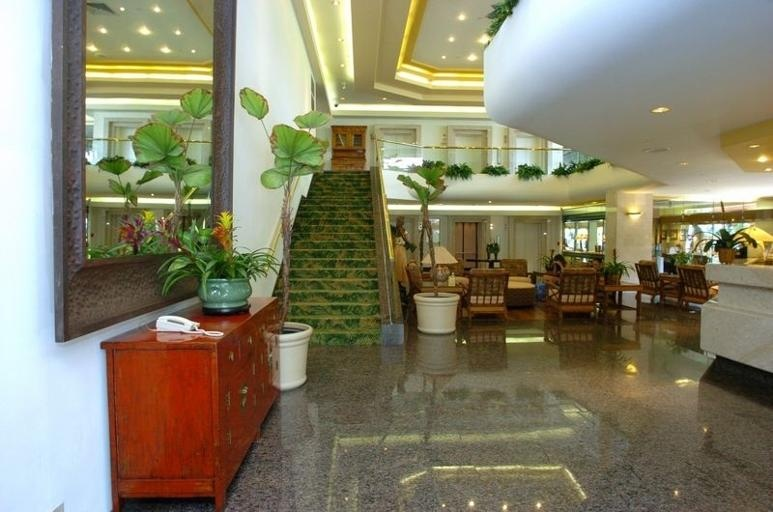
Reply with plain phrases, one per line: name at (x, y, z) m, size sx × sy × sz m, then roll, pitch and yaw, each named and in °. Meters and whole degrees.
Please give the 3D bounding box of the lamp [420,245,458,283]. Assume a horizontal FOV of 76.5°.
lamp at (1.076, 0.131, 9.433) m, size 0.757 × 0.668 × 0.764 m, roll 3°, pitch 9°, yaw 37°

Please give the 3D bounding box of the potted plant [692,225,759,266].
potted plant at (7.073, -0.213, 10.098) m, size 1.110 × 0.545 × 1.054 m, roll 1°, pitch -4°, yaw 14°

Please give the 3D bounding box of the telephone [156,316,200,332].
telephone at (-1.643, 0.510, 3.759) m, size 0.385 × 0.120 × 0.123 m, roll -1°, pitch 0°, yaw -6°

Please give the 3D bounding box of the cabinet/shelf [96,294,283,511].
cabinet/shelf at (-1.593, 1.178, 3.946) m, size 0.895 × 1.287 × 1.142 m, roll 2°, pitch 10°, yaw 8°

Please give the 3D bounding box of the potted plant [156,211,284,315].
potted plant at (-1.480, 0.074, 4.367) m, size 1.085 × 0.738 × 1.058 m, roll -8°, pitch 12°, yaw -44°
